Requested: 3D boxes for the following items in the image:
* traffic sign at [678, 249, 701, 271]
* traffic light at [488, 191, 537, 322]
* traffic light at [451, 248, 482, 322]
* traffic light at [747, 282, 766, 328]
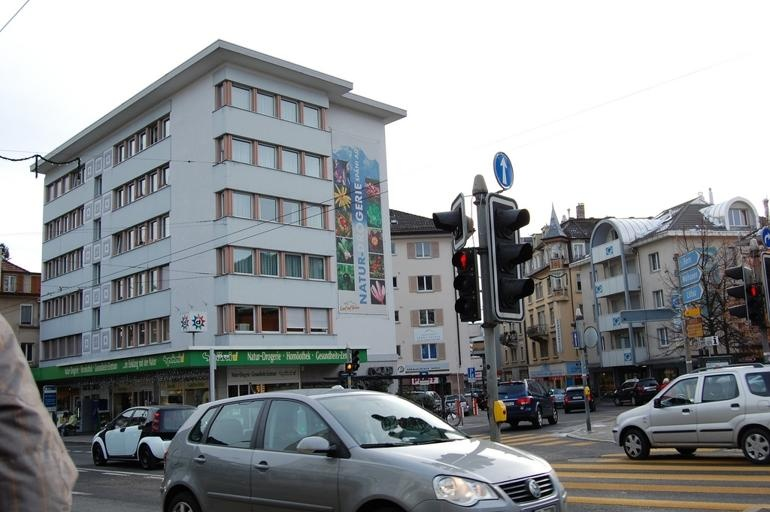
[{"bbox_3d":[8.675,0.047,20.608,0.161,0.622,0.620,31,-30,-18],"label":"traffic sign"},{"bbox_3d":[1.765,-0.019,10.290,0.608,1.787,0.716,-6,-14,11],"label":"traffic light"},{"bbox_3d":[1.153,0.417,10.470,0.481,1.116,0.371,-11,-15,27],"label":"traffic light"},{"bbox_3d":[8.503,1.102,16.828,0.413,1.002,0.404,-6,-14,8],"label":"traffic light"}]
